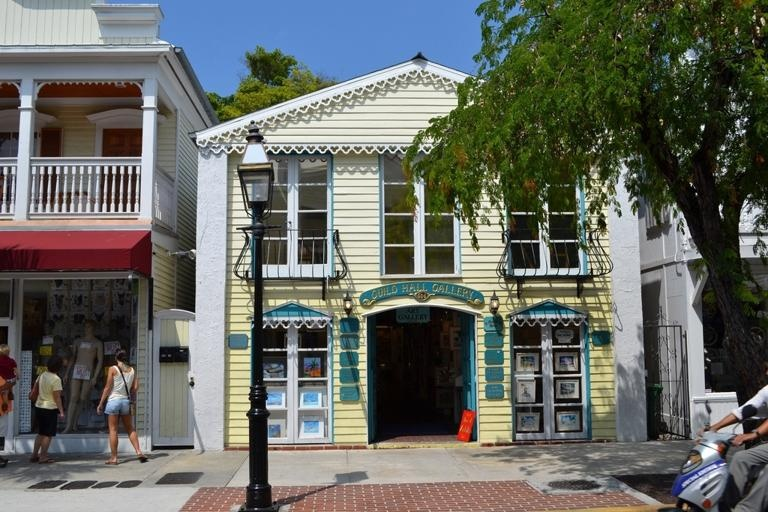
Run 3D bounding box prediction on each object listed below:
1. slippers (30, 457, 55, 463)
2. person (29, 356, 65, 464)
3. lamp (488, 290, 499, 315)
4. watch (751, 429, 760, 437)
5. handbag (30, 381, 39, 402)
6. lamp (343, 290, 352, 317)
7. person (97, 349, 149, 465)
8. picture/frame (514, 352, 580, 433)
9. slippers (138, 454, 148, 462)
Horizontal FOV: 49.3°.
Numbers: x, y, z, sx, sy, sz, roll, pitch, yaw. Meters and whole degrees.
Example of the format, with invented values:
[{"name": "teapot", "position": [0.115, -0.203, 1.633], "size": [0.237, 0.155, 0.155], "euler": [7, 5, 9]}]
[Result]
[{"name": "slippers", "position": [-7.312, 4.368, 17.896], "size": [0.397, 0.106, 0.175], "euler": [1, -4, -6]}, {"name": "person", "position": [-7.271, 3.275, 17.989], "size": [0.631, 2.258, 0.888], "euler": [-1, 2, -24]}, {"name": "lamp", "position": [2.618, 1.103, 19.570], "size": [0.251, 0.550, 0.219], "euler": [0, 2, 3]}, {"name": "watch", "position": [5.942, 2.796, 13.251], "size": [0.052, 0.074, 0.077], "euler": [-27, 22, 3]}, {"name": "handbag", "position": [-7.456, 2.889, 17.798], "size": [0.183, 0.500, 0.415], "euler": [-1, 2, -23]}, {"name": "lamp", "position": [-0.815, 1.105, 19.414], "size": [0.208, 0.534, 0.203], "euler": [0, 2, 1]}, {"name": "person", "position": [-5.683, 3.203, 18.173], "size": [0.967, 2.413, 1.391], "euler": [-1, 2, -17]}, {"name": "picture/frame", "position": [3.808, 3.267, 19.593], "size": [1.775, 2.223, 0.119], "euler": [1, -8, -3]}, {"name": "slippers", "position": [-5.146, 4.293, 17.847], "size": [0.114, 0.116, 0.281], "euler": [1, -31, -8]}]
